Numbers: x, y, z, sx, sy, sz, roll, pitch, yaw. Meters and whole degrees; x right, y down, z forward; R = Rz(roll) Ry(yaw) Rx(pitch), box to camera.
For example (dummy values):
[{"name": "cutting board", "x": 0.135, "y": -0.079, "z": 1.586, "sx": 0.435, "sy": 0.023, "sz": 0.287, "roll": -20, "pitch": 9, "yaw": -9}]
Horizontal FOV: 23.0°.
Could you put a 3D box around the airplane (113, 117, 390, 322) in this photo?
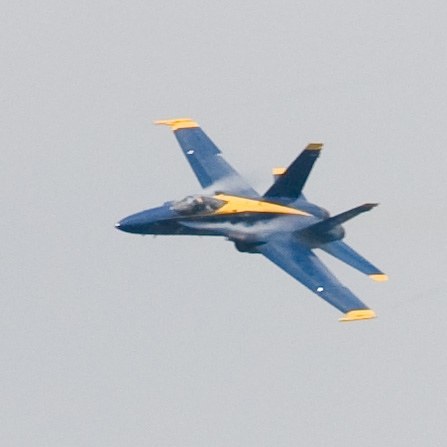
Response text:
[{"name": "airplane", "x": 0.956, "y": -0.495, "z": 43.435, "sx": 10.256, "sy": 2.663, "sz": 12.938, "roll": 0, "pitch": -32, "yaw": 27}]
